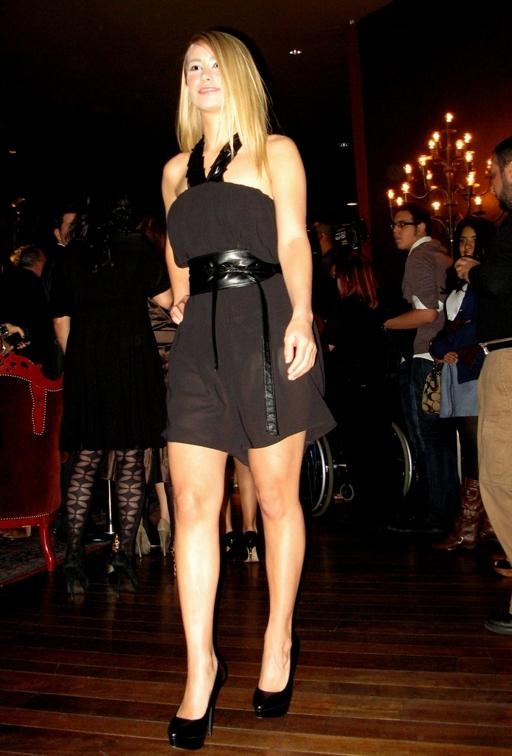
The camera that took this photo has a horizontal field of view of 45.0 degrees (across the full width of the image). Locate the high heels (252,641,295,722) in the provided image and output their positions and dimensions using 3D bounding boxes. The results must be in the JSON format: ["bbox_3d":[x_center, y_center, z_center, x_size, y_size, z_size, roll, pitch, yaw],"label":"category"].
[{"bbox_3d":[0.038,0.673,1.368,0.062,0.059,0.203,6,10,14],"label":"high heels"}]

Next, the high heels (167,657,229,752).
[{"bbox_3d":[-0.104,0.636,1.256,0.062,0.068,0.204,-10,32,28],"label":"high heels"}]

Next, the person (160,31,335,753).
[{"bbox_3d":[-0.022,-0.013,1.341,0.365,1.385,0.415,-4,1,1],"label":"person"}]

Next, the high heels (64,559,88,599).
[{"bbox_3d":[-0.739,0.824,2.537,0.063,0.086,0.199,4,-28,-2],"label":"high heels"}]

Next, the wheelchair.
[{"bbox_3d":[0.673,0.636,4.297,0.554,0.560,0.776,-12,1,7],"label":"wheelchair"}]
